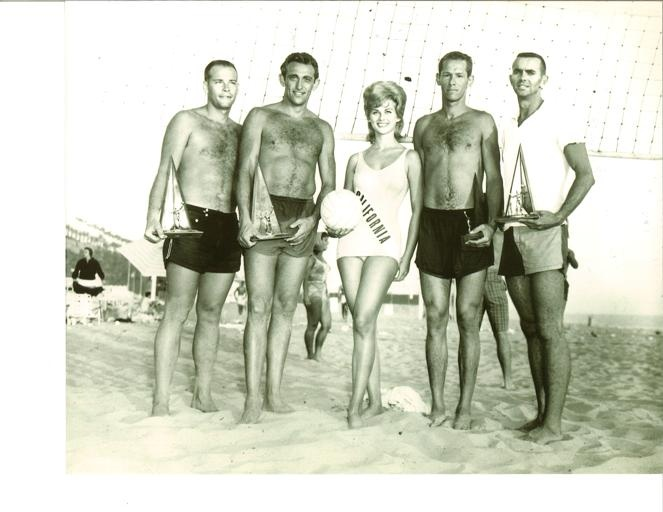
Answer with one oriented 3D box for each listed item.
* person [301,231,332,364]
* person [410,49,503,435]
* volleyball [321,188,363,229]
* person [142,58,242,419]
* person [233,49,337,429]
[{"bbox_3d":[-0.110,0.305,5.197,0.209,1.031,0.196,4,2,11],"label":"person"},{"bbox_3d":[0.824,-0.135,4.849,0.635,2.524,0.674,2,2,2],"label":"person"},{"bbox_3d":[0.069,-0.318,4.363,0.241,0.257,0.230,3,2,13],"label":"volleyball"},{"bbox_3d":[-0.997,-0.108,4.708,0.496,2.555,0.501,5,2,-18],"label":"person"},{"bbox_3d":[-0.369,-0.215,4.569,0.551,2.731,0.546,7,6,-19],"label":"person"}]
